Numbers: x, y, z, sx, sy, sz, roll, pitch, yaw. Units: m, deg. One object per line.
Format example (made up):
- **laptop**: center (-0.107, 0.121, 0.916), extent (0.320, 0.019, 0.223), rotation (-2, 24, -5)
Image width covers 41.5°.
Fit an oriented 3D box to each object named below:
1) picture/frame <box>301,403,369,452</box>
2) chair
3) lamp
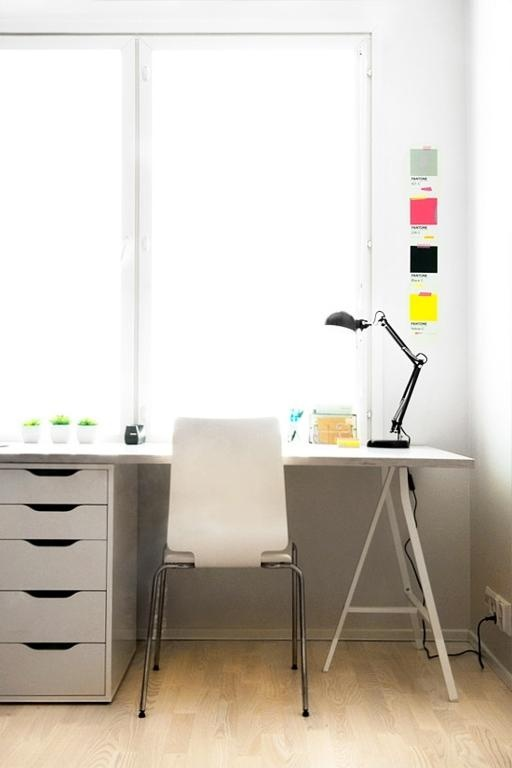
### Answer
- **picture/frame**: center (0.270, 0.146, 2.345), extent (0.192, 0.130, 0.144), rotation (2, -7, 3)
- **chair**: center (-0.094, 0.502, 2.022), extent (0.488, 0.829, 0.440), rotation (0, 2, -2)
- **lamp**: center (0.423, -0.024, 2.356), extent (0.323, 0.479, 0.320), rotation (1, 2, 18)
